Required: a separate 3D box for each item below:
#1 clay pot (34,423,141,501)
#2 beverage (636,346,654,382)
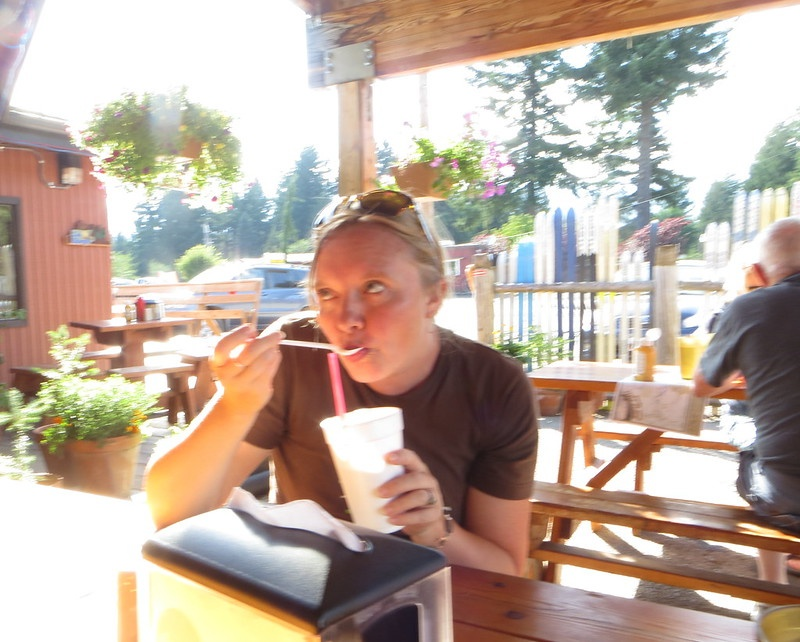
[{"bbox_3d":[-2.074,0.903,4.754,0.731,0.428,0.627,0,-5,-10],"label":"clay pot"},{"bbox_3d":[1.338,0.216,3.758,0.095,0.194,0.136,7,8,9],"label":"beverage"}]
